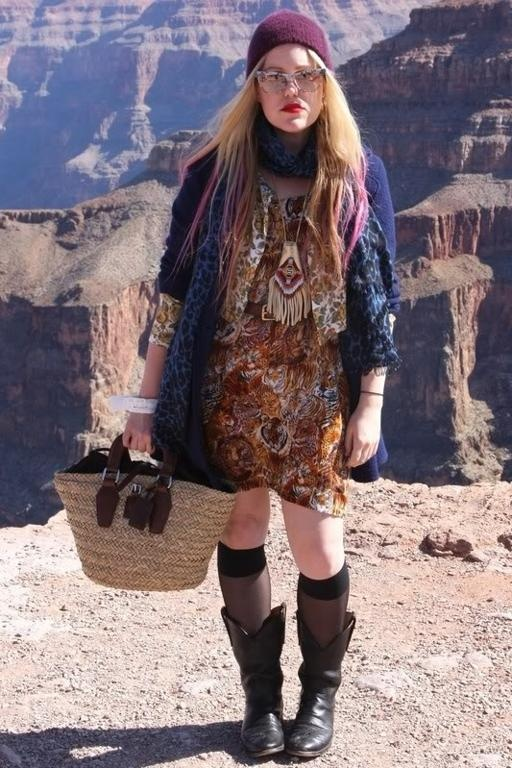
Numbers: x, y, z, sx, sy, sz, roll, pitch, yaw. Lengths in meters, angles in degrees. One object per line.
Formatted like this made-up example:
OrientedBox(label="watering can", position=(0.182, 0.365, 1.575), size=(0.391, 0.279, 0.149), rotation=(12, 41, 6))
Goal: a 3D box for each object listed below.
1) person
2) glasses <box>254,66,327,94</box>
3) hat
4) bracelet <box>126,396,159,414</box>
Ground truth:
OrientedBox(label="person", position=(0.057, 0.029, 3.087), size=(0.799, 1.993, 0.335), rotation=(-11, -2, 20))
OrientedBox(label="glasses", position=(0.105, -0.834, 2.933), size=(0.189, 0.069, 0.037), rotation=(-7, -2, 0))
OrientedBox(label="hat", position=(0.091, -0.956, 3.015), size=(0.224, 0.144, 0.200), rotation=(-6, -1, 5))
OrientedBox(label="bracelet", position=(-0.335, 0.064, 3.122), size=(0.072, 0.029, 0.060), rotation=(1, 4, 11))
